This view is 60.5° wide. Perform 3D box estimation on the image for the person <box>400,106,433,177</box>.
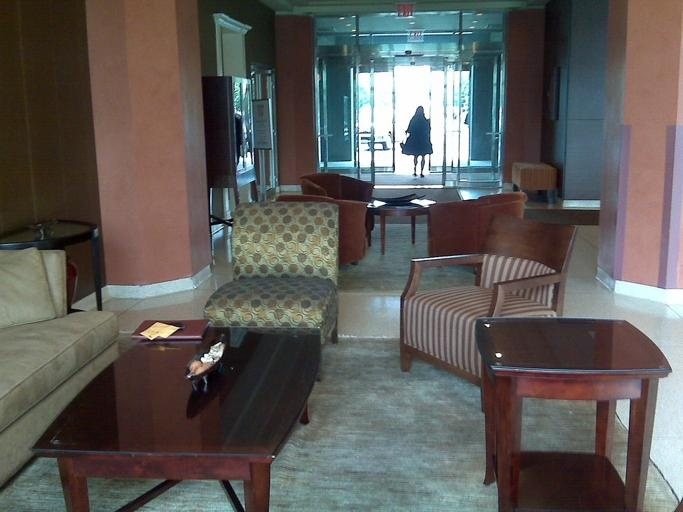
[{"bbox_3d":[1.548,-2.333,11.931,0.616,1.410,0.275,-1,13,6],"label":"person"}]
